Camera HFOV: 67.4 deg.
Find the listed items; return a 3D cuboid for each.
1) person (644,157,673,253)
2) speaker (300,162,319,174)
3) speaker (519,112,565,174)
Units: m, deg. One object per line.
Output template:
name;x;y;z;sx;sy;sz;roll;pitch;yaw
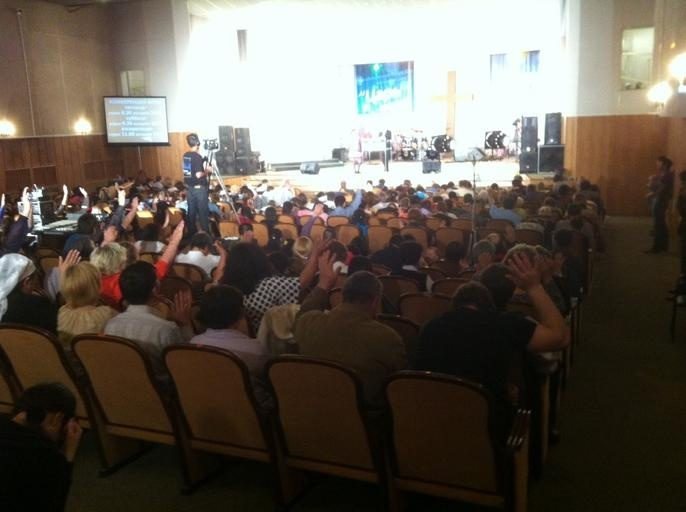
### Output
person;5.684;-0.896;9.213;0.401;1.618;0.654;7;15;32
speaker;-1.217;-3.261;19.060;0.674;0.450;0.377;7;15;27
speaker;6.492;-3.675;16.755;1.257;1.872;3.024;4;15;19
